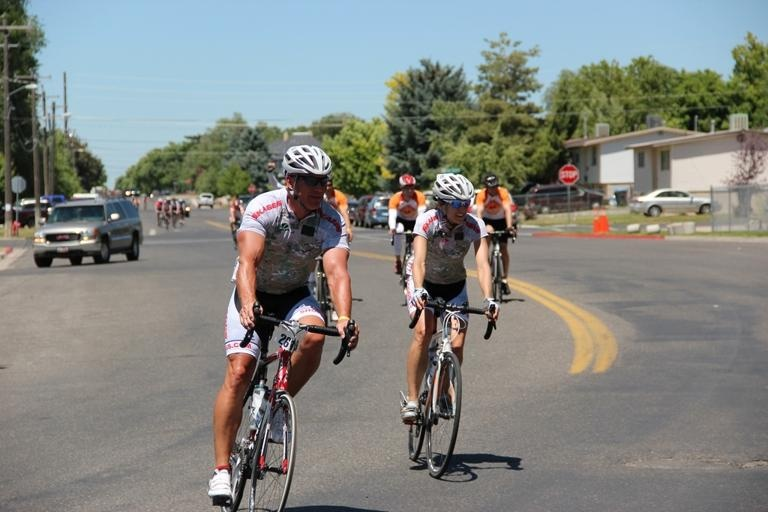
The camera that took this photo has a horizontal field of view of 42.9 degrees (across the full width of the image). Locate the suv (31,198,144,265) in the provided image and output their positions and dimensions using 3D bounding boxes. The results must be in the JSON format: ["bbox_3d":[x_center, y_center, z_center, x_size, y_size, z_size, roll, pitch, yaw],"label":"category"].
[{"bbox_3d":[-8.901,-0.792,30.010,1.791,1.499,3.439,-1,-3,7],"label":"suv"}]

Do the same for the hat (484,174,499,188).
[{"bbox_3d":[1.974,-1.365,17.907,0.184,0.178,0.269,-2,6,-5],"label":"hat"}]

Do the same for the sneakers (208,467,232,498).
[{"bbox_3d":[-1.494,2.043,8.836,0.210,0.242,0.163,-1,8,-11],"label":"sneakers"}]

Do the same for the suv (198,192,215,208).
[{"bbox_3d":[-22.961,-7.138,125.161,1.472,1.465,3.286,-1,10,-11],"label":"suv"}]

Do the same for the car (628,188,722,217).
[{"bbox_3d":[14.756,-2.703,49.897,3.472,1.221,1.623,-3,6,-12],"label":"car"}]

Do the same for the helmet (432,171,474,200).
[{"bbox_3d":[0.744,-0.741,10.503,0.429,0.276,0.407,1,8,5],"label":"helmet"}]

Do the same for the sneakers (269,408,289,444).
[{"bbox_3d":[-0.966,1.539,8.922,0.170,0.341,0.077,5,0,29],"label":"sneakers"}]

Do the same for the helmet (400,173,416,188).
[{"bbox_3d":[0.434,-1.417,17.779,0.267,0.329,0.364,2,-6,-13],"label":"helmet"}]

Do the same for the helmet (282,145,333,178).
[{"bbox_3d":[-0.737,-0.896,9.192,0.434,0.282,0.383,-1,8,-7],"label":"helmet"}]

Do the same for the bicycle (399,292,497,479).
[{"bbox_3d":[0.621,1.318,10.142,0.730,1.696,1.128,-1,8,-6],"label":"bicycle"}]

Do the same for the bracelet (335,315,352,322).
[{"bbox_3d":[-0.369,0.563,8.874,0.118,0.051,0.154,-1,8,-4],"label":"bracelet"}]
